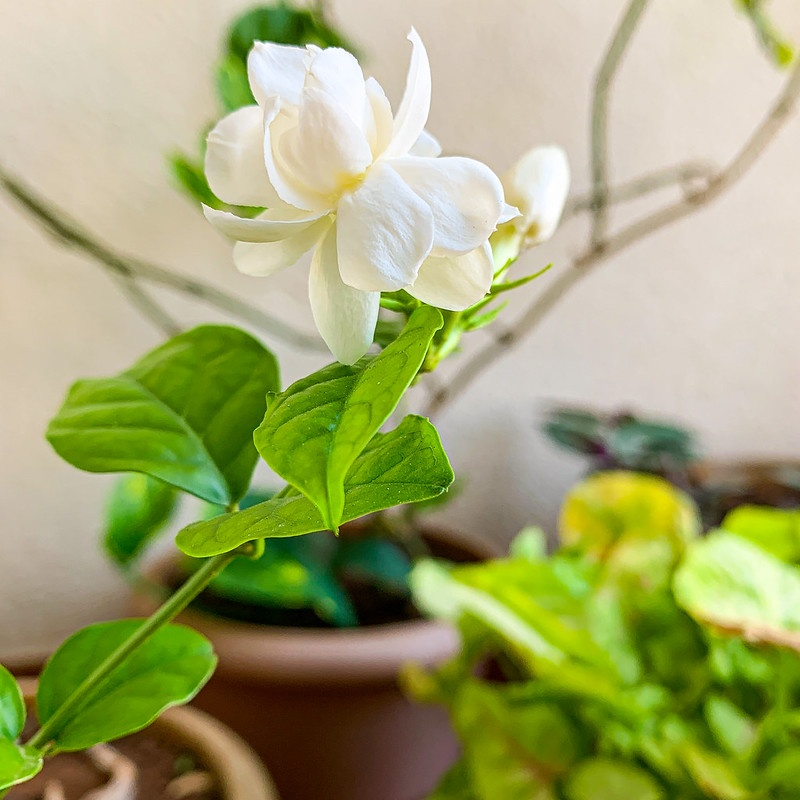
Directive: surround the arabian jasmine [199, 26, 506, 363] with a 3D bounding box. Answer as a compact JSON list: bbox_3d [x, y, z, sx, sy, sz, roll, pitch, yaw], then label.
[{"bbox_3d":[-0.008,-0.091,0.387,0.071,0.139,0.131,-28,-21,21],"label":"arabian jasmine"}]
